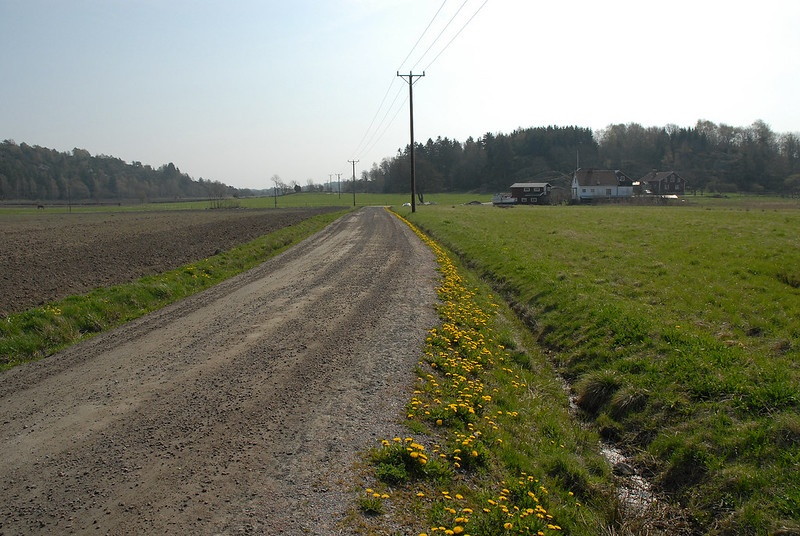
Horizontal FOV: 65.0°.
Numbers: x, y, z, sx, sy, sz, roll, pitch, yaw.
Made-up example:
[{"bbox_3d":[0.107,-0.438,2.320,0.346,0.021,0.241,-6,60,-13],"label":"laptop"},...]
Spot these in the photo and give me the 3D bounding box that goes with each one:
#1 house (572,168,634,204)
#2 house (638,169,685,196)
[{"bbox_3d":[36.770,-16.122,120.348,9.690,5.132,5.031,-1,12,-4],"label":"house"},{"bbox_3d":[55.292,-18.931,139.134,8.008,4.611,9.947,8,16,31],"label":"house"}]
